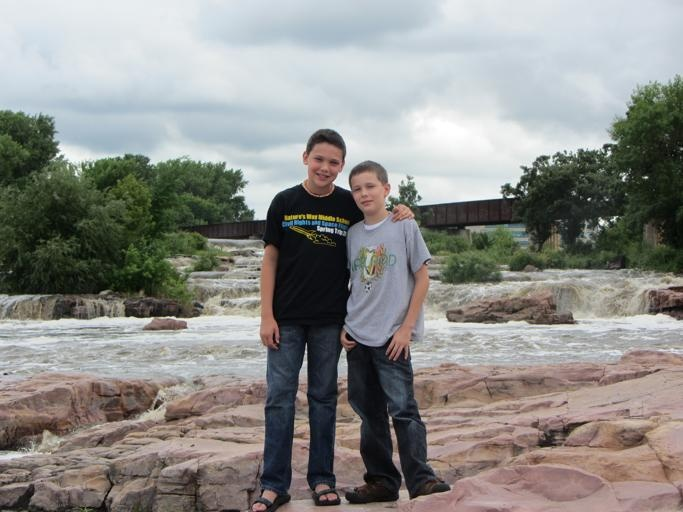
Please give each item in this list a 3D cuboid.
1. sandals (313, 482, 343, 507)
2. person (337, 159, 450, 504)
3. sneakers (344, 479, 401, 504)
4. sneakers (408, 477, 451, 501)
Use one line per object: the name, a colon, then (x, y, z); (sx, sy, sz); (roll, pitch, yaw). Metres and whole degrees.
sandals: (-0.132, 2.176, 7.409); (0.255, 0.165, 0.198); (0, 0, -2)
person: (0.444, 0.681, 7.526); (0.902, 3.139, 0.683); (1, 1, 11)
sneakers: (0.272, 2.179, 7.509); (0.476, 0.203, 0.185); (2, -9, -6)
sneakers: (0.789, 2.068, 7.254); (0.398, 0.169, 0.150); (-28, -10, 15)
